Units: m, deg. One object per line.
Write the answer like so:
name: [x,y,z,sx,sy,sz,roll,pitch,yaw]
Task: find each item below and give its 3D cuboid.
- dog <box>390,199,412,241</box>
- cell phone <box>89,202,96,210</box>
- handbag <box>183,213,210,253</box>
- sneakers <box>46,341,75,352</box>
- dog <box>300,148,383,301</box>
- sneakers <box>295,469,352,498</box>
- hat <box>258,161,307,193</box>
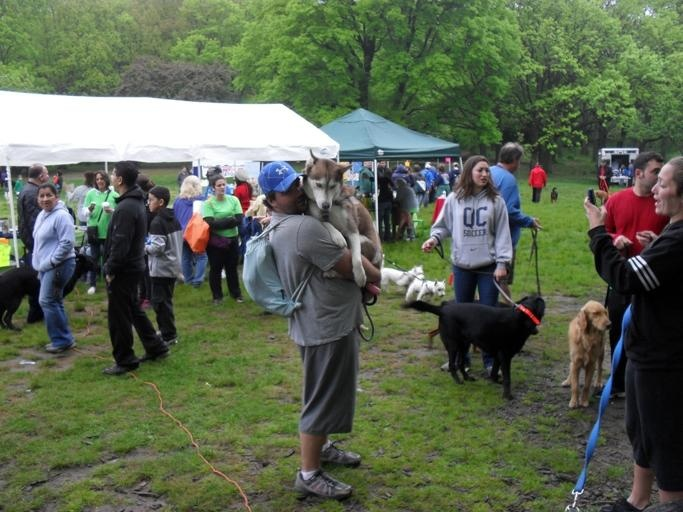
dog: [1.537,-0.928,18.809,0.748,0.934,0.842,0,8,15]
cell phone: [-4.663,-0.938,13.711,0.104,0.119,0.086,-4,20,-43]
handbag: [-2.544,-0.434,12.900,0.609,0.536,0.335,-11,-4,4]
sneakers: [-4.316,1.381,11.295,0.467,0.235,0.176,0,12,-14]
dog: [0.123,-0.233,8.331,0.602,1.144,2.118,1,-12,21]
sneakers: [-0.178,2.524,8.008,0.608,0.312,0.274,4,-1,1]
hat: [-0.655,-0.824,7.764,0.397,0.233,0.290,-12,19,45]
